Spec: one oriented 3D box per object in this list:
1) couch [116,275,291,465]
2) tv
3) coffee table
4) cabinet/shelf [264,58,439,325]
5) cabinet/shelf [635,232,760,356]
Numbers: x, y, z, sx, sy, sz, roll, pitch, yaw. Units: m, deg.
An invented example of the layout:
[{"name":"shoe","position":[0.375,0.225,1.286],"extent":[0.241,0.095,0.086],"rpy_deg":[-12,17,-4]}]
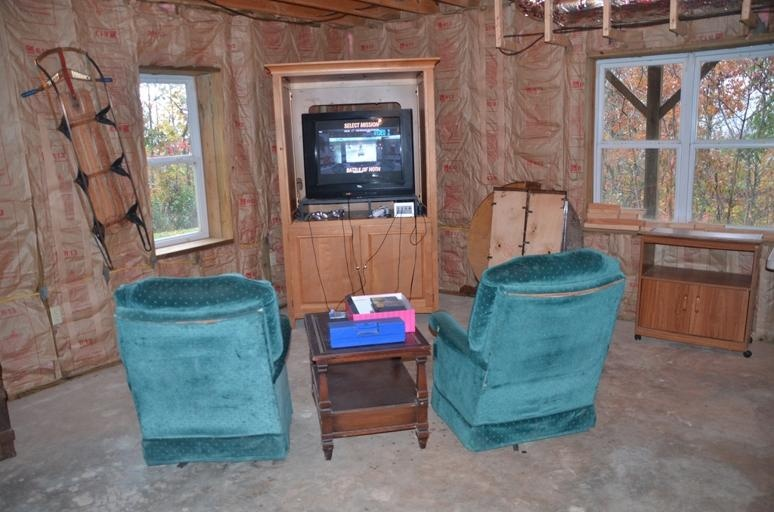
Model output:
[{"name":"couch","position":[-1.324,0.785,4.420],"extent":[1.135,1.274,1.101],"rpy_deg":[-1,15,0]},{"name":"tv","position":[-0.456,-1.100,6.588],"extent":[1.341,0.951,0.665],"rpy_deg":[-7,12,-28]},{"name":"coffee table","position":[-0.166,0.977,4.661],"extent":[0.872,0.880,0.913],"rpy_deg":[-5,13,-8]},{"name":"cabinet/shelf","position":[-0.268,-0.731,6.561],"extent":[1.731,2.734,1.396],"rpy_deg":[-2,14,3]},{"name":"cabinet/shelf","position":[3.112,0.346,5.817],"extent":[1.056,1.145,0.596],"rpy_deg":[8,14,39]}]
